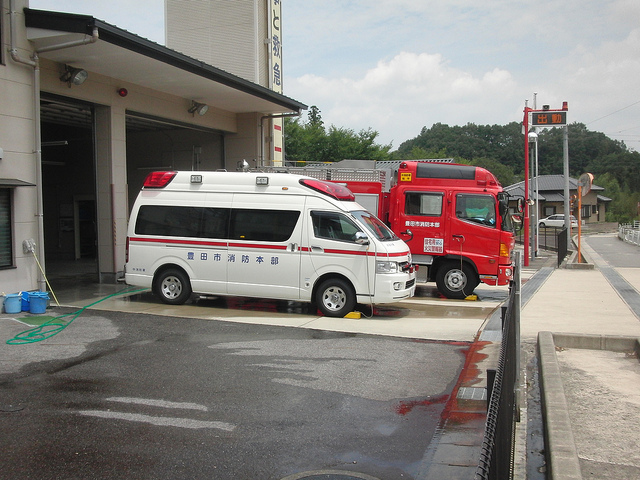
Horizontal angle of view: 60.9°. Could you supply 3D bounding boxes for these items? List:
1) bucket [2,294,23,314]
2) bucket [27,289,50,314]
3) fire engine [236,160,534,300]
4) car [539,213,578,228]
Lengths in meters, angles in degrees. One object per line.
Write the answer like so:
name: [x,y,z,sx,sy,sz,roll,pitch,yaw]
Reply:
bucket: [-6.692,1.386,11.931,0.396,0.408,0.378,-3,-11,-1]
bucket: [-6.269,1.352,12.117,0.460,0.429,0.422,-1,-10,0]
fire engine: [1.433,-0.409,15.786,7.751,3.599,2.759,2,7,15]
car: [24.839,-2.041,58.899,2.364,1.283,4.920,3,6,22]
